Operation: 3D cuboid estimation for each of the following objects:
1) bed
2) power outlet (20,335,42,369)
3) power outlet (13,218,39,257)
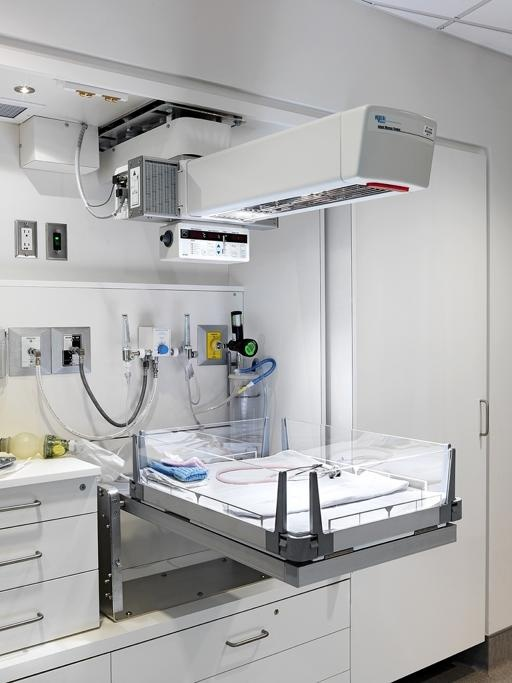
[{"bbox_3d":[0.050,0.322,1.407,0.472,0.333,0.712,-8,11,-36],"label":"bed"},{"bbox_3d":[-0.708,0.033,1.859,0.068,0.101,0.022,-7,10,-32],"label":"power outlet"},{"bbox_3d":[-0.747,-0.330,1.917,0.021,0.118,0.079,5,11,38],"label":"power outlet"}]
